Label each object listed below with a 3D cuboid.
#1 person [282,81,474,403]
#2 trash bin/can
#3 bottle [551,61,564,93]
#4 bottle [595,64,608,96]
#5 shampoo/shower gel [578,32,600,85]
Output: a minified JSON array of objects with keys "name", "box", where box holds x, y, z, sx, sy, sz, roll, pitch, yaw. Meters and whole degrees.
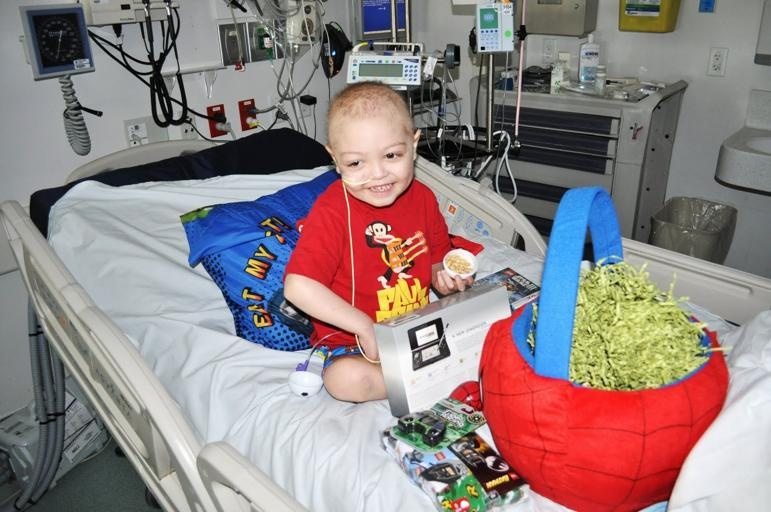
[{"name":"person","box":[-0.013,-0.060,1.532,0.621,0.902,0.386,-15,23,-38]},{"name":"trash bin/can","box":[1.907,-0.158,3.023,0.240,0.350,0.287,15,39,38]},{"name":"bottle","box":[1.169,-1.191,3.322,0.085,0.200,0.304,5,19,18]},{"name":"bottle","box":[1.396,-1.118,3.170,0.065,0.174,0.184,7,19,22]},{"name":"shampoo/shower gel","box":[1.360,-1.268,3.281,0.121,0.259,0.319,6,19,20]}]
